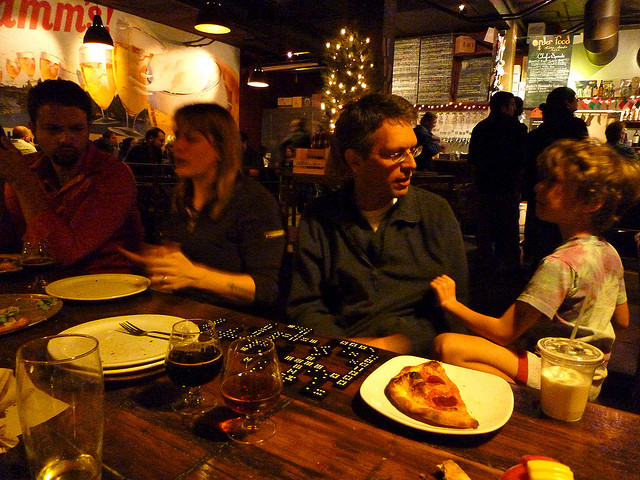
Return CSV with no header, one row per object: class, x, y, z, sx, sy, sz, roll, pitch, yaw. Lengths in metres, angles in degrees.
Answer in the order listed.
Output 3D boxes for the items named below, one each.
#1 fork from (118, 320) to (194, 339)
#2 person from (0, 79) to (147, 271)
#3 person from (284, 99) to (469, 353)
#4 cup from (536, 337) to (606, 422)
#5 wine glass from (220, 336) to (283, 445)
fork,-0.497,0.271,1.416,0.306,0.030,0.037,7,22,-1
person,-1.269,-0.331,2.361,0.685,0.932,0.682,-3,14,-21
person,0.262,-0.041,2.121,0.994,1.063,0.768,-3,9,6
cup,0.664,0.349,1.302,0.203,0.190,0.212,-2,7,0
wine glass,-0.174,0.377,1.178,0.157,0.184,0.139,-1,1,-13
